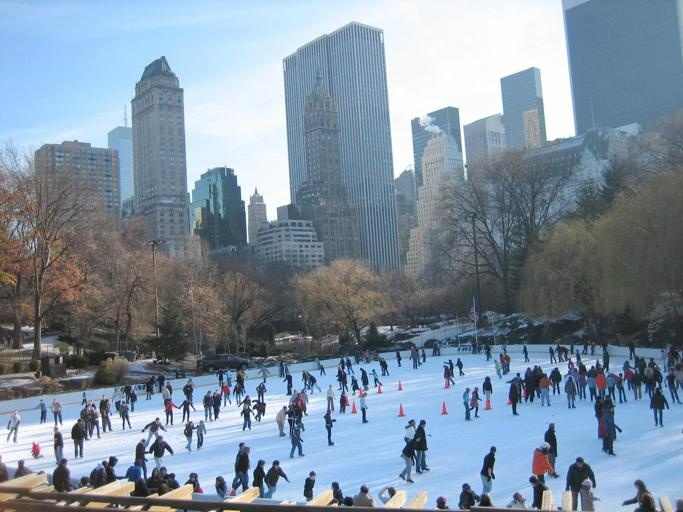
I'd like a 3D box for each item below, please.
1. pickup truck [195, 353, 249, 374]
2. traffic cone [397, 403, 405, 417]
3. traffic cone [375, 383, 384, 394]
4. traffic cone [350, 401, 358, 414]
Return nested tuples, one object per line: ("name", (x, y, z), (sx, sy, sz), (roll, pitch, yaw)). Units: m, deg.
("pickup truck", (-10.785, 9.706, 78.151), (4.243, 1.536, 1.975), (-4, -5, 1))
("traffic cone", (4.123, 10.441, 58.368), (0.573, 0.846, 0.608), (-7, -5, 21))
("traffic cone", (2.950, 10.018, 65.482), (0.506, 0.746, 0.553), (-3, 2, 6))
("traffic cone", (0.915, 10.601, 60.650), (0.615, 0.876, 0.620), (-2, 9, 6))
